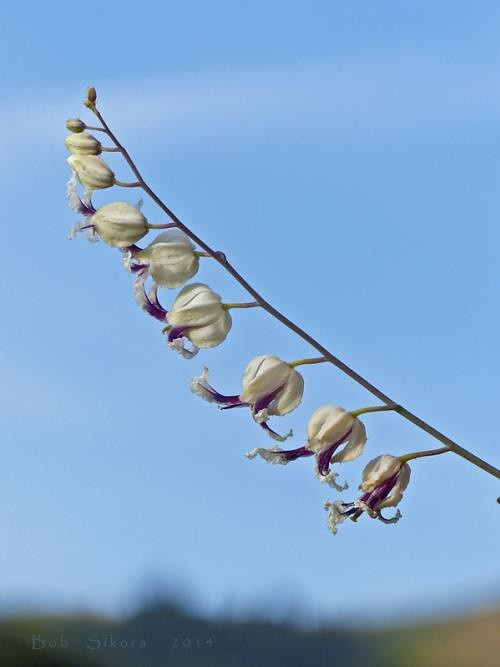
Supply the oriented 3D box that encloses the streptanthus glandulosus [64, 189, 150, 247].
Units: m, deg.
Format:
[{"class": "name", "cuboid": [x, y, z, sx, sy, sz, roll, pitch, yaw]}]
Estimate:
[{"class": "streptanthus glandulosus", "cuboid": [-0.599, -0.467, 6.201, 0.316, 0.231, 0.150, -6, -16, 28]}]
